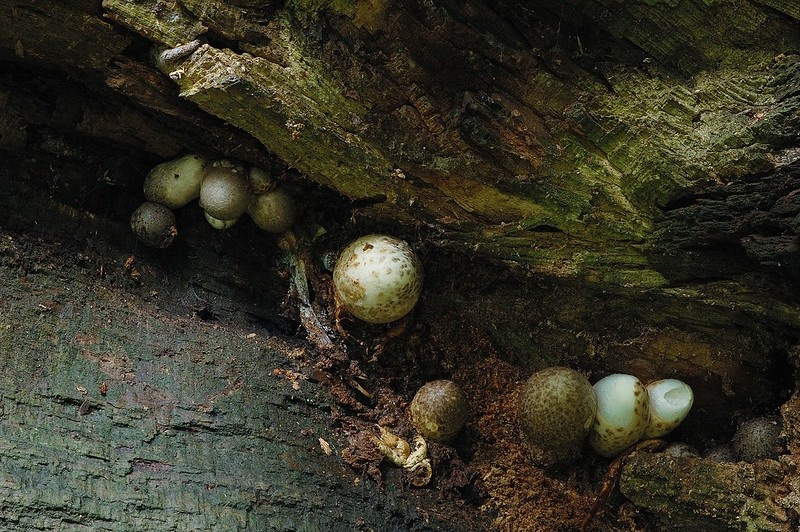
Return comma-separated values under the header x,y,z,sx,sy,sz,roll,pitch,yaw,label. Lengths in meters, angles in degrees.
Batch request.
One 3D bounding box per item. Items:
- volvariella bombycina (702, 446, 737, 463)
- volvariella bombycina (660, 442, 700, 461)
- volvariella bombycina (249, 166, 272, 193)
x,y,z,sx,sy,sz,roll,pitch,yaw,label
2.286,1.354,5.121,0.127,0.074,0.116,-2,13,-14,volvariella bombycina
2.032,1.340,5.174,0.146,0.084,0.151,3,10,-8,volvariella bombycina
-1.039,-0.650,5.342,0.179,0.136,0.137,43,-22,11,volvariella bombycina
